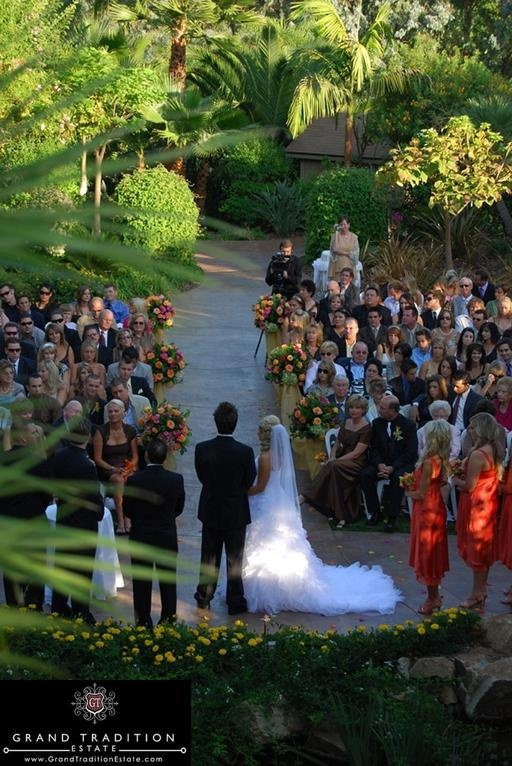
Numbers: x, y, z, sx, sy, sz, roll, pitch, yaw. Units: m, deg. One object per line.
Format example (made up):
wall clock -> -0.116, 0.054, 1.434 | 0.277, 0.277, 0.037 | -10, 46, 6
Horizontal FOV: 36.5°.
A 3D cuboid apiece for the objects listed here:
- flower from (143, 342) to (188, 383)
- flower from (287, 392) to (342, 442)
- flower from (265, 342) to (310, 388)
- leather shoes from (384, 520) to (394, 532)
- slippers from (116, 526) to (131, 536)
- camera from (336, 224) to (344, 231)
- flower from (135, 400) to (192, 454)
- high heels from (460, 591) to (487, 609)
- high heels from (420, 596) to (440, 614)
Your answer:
flower -> -1.309, -0.298, 11.004 | 0.579, 0.516, 0.582 | -9, -9, 35
flower -> 0.720, 0.425, 9.682 | 0.613, 0.533, 0.558 | 6, -31, 2
flower -> 0.453, -0.230, 10.928 | 0.625, 0.551, 0.570 | -5, 29, -5
leather shoes -> 1.483, 1.592, 8.647 | 0.113, 0.176, 0.276 | 0, -10, 5
slippers -> -1.359, 1.535, 8.021 | 0.148, 0.086, 0.346 | 1, -5, -13
camera -> 1.677, -3.134, 15.623 | 0.121, 0.051, 0.148 | 3, 34, 4
flower -> -0.954, 0.519, 8.486 | 0.658, 0.561, 0.595 | -1, 5, -13
high heels -> 1.895, 1.925, 6.860 | 0.349, 0.155, 0.114 | 8, -7, -24
high heels -> 1.526, 1.957, 6.872 | 0.211, 0.128, 0.111 | 1, 0, -9
